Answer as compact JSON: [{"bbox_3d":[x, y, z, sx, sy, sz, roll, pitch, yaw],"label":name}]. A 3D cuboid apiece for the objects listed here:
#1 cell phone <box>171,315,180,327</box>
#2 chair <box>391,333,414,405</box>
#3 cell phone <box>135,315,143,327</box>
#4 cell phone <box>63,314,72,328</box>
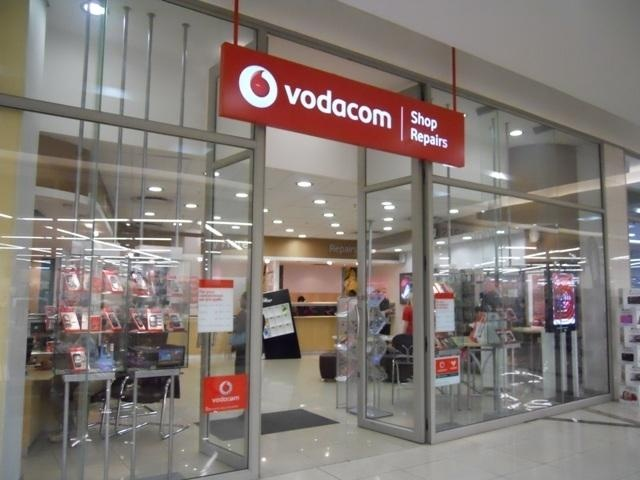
[{"bbox_3d":[-1.274,0.722,4.657,0.089,0.099,0.068,-1,-3,16],"label":"cell phone"},{"bbox_3d":[1.055,1.542,6.467,0.348,0.697,0.453,0,-11,2],"label":"chair"},{"bbox_3d":[-1.551,0.701,4.517,0.049,0.098,0.022,-25,9,-31],"label":"cell phone"},{"bbox_3d":[-2.057,0.664,4.290,0.057,0.104,0.022,-5,-2,-33],"label":"cell phone"}]
